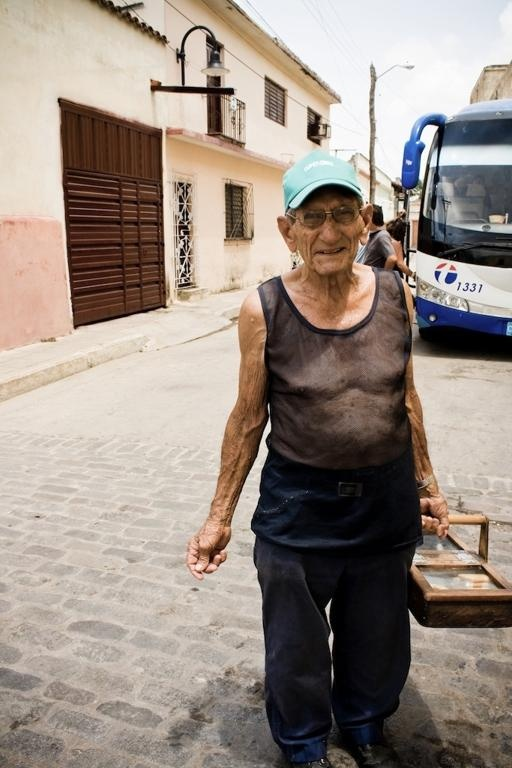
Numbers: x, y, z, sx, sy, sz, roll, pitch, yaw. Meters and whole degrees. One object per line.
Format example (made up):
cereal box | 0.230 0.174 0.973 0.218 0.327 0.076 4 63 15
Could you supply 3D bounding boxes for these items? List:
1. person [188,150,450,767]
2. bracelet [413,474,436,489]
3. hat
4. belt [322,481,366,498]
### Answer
person | 0.137 0.244 1.685 0.580 1.628 0.363 2 13 13
bracelet | 0.504 0.289 1.909 0.048 0.023 0.058 -13 -11 -11
hat | 0.156 -0.496 1.536 0.198 0.155 0.286 1 11 8
belt | 0.209 0.245 1.529 0.100 0.059 0.012 0 12 0
